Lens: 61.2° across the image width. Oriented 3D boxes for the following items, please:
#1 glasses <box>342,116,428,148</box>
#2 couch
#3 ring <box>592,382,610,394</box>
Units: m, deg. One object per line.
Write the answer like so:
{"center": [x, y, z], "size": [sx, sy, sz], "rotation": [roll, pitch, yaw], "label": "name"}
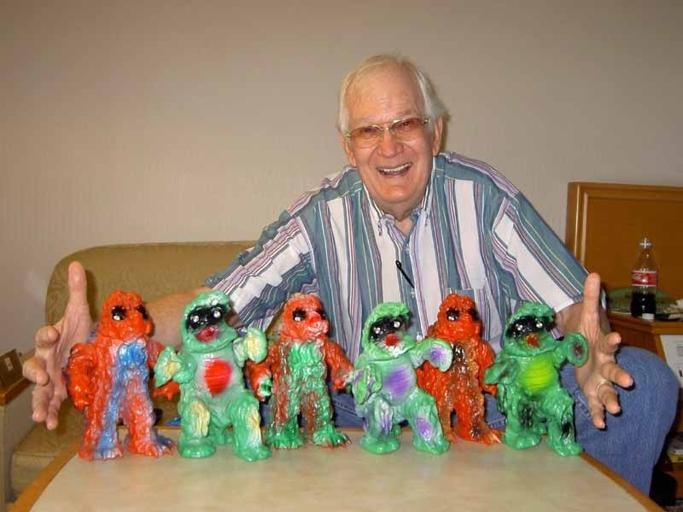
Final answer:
{"center": [0.156, -0.406, 1.903], "size": [0.255, 0.087, 0.077], "rotation": [-4, 2, 3], "label": "glasses"}
{"center": [-0.852, 0.428, 2.631], "size": [0.833, 0.996, 0.938], "rotation": [-1, -3, -8], "label": "couch"}
{"center": [0.676, 0.340, 1.516], "size": [0.029, 0.029, 0.028], "rotation": [-51, 7, 8], "label": "ring"}
